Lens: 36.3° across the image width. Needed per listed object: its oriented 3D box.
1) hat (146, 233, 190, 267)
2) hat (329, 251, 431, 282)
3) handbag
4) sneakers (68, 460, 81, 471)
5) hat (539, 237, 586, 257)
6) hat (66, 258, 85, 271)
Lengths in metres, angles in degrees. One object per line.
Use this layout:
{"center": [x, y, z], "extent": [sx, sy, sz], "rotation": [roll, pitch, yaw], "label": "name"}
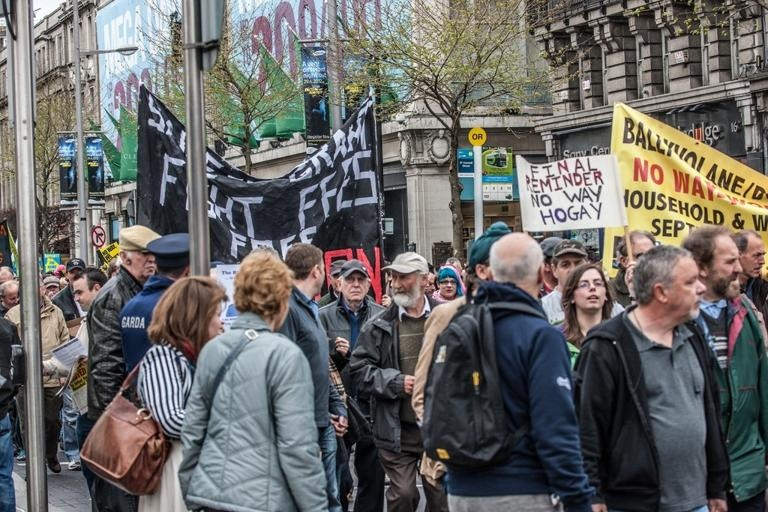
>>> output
{"center": [-1.923, -0.060, 10.543], "extent": [0.360, 0.315, 0.423], "rotation": [-2, -3, -14], "label": "hat"}
{"center": [0.069, 0.077, 12.051], "extent": [0.679, 0.304, 0.386], "rotation": [-4, 7, 11], "label": "hat"}
{"center": [-2.143, 1.511, 9.818], "extent": [0.840, 0.813, 0.411], "rotation": [13, -5, 43], "label": "handbag"}
{"center": [-4.171, 2.853, 15.869], "extent": [0.167, 0.118, 0.267], "rotation": [2, 5, -14], "label": "sneakers"}
{"center": [1.957, -0.108, 12.849], "extent": [0.501, 0.249, 0.760], "rotation": [0, -4, -4], "label": "hat"}
{"center": [-5.096, 0.104, 19.431], "extent": [0.294, 0.250, 0.438], "rotation": [-1, -15, -10], "label": "hat"}
